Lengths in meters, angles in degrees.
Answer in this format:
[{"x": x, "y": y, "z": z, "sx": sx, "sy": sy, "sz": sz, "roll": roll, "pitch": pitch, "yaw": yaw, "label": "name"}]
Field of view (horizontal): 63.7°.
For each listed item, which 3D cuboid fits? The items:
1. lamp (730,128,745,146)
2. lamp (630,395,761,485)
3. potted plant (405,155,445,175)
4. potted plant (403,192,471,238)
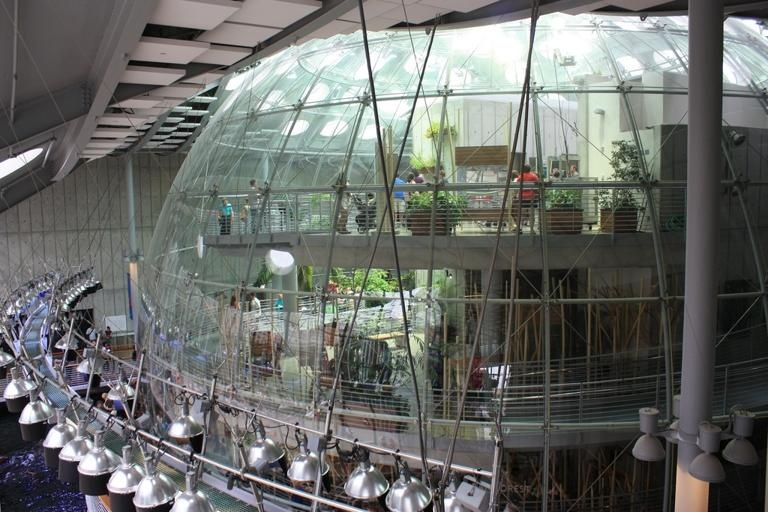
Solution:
[{"x": 6.708, "y": -2.239, "z": 11.750, "sx": 0.198, "sy": 0.360, "sz": 0.265, "roll": -2, "pitch": 18, "yaw": -4, "label": "lamp"}, {"x": 4.388, "y": 2.482, "z": 8.417, "sx": 1.603, "sy": 0.776, "sz": 1.654, "roll": 1, "pitch": 6, "yaw": 3, "label": "lamp"}, {"x": 0.754, "y": -1.747, "z": 11.832, "sx": 0.436, "sy": 0.210, "sz": 0.486, "roll": -7, "pitch": 14, "yaw": -31, "label": "potted plant"}, {"x": 0.969, "y": -0.798, "z": 11.908, "sx": 1.287, "sy": 0.972, "sz": 0.750, "roll": 0, "pitch": 4, "yaw": 1, "label": "potted plant"}]
